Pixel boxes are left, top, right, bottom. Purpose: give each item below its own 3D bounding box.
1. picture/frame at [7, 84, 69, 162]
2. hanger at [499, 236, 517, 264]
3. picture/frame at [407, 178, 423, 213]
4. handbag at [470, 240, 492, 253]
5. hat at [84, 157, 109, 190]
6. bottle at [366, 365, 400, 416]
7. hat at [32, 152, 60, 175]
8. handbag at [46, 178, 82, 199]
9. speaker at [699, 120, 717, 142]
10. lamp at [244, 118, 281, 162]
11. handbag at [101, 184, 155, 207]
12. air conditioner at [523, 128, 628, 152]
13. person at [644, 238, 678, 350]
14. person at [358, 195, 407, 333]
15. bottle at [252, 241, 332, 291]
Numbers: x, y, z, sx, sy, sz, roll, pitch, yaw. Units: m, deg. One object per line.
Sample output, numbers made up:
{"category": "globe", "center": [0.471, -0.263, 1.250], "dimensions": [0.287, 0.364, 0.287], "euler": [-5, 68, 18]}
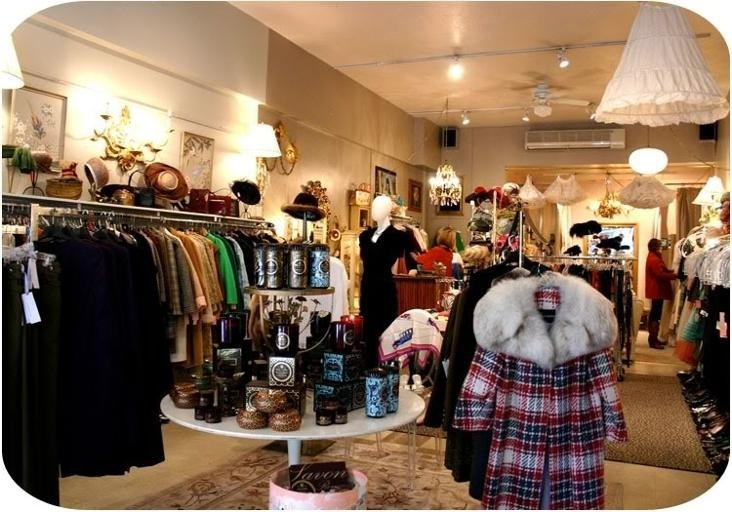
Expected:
{"category": "picture/frame", "center": [-2.837, -1.154, 4.460], "dimensions": [0.061, 0.572, 0.471], "euler": [1, 2, 25]}
{"category": "hanger", "center": [1.058, -0.049, 3.855], "dimensions": [0.109, 0.290, 0.207], "euler": [-3, -5, 15]}
{"category": "picture/frame", "center": [1.025, -1.306, 10.971], "dimensions": [0.055, 0.775, 0.829], "euler": [-1, -1, 32]}
{"category": "handbag", "center": [1.130, -0.092, 5.085], "dimensions": [0.150, 0.084, 0.198], "euler": [2, 0, -13]}
{"category": "hat", "center": [-2.503, -0.755, 4.748], "dimensions": [0.216, 0.282, 0.151], "euler": [22, 35, 34]}
{"category": "bottle", "center": [0.083, 0.690, 2.611], "dimensions": [0.108, 0.210, 0.238], "euler": [-1, -2, 20]}
{"category": "hat", "center": [-2.724, -0.791, 4.367], "dimensions": [0.130, 0.079, 0.164], "euler": [7, 4, -4]}
{"category": "handbag", "center": [-2.573, -0.577, 4.375], "dimensions": [0.260, 0.194, 0.166], "euler": [-1, 3, -32]}
{"category": "speaker", "center": [6.575, -2.370, 9.877], "dimensions": [0.318, 0.367, 0.279], "euler": [1, 2, 32]}
{"category": "lamp", "center": [-1.248, -1.381, 6.247], "dimensions": [0.431, 0.456, 0.430], "euler": [-1, -3, 41]}
{"category": "handbag", "center": [-2.206, -0.567, 4.824], "dimensions": [0.318, 0.112, 0.233], "euler": [4, 3, 34]}
{"category": "air conditioner", "center": [4.328, -2.438, 10.622], "dimensions": [1.950, 0.478, 0.511], "euler": [1, 2, 16]}
{"category": "person", "center": [4.928, 0.655, 8.629], "dimensions": [0.428, 1.882, 1.141], "euler": [1, 2, 31]}
{"category": "person", "center": [0.182, 0.081, 5.505], "dimensions": [0.476, 1.469, 0.493], "euler": [-1, 2, -23]}
{"category": "bottle", "center": [-0.398, 0.054, 2.772], "dimensions": [0.397, 0.246, 0.149], "euler": [-1, 2, -14]}
